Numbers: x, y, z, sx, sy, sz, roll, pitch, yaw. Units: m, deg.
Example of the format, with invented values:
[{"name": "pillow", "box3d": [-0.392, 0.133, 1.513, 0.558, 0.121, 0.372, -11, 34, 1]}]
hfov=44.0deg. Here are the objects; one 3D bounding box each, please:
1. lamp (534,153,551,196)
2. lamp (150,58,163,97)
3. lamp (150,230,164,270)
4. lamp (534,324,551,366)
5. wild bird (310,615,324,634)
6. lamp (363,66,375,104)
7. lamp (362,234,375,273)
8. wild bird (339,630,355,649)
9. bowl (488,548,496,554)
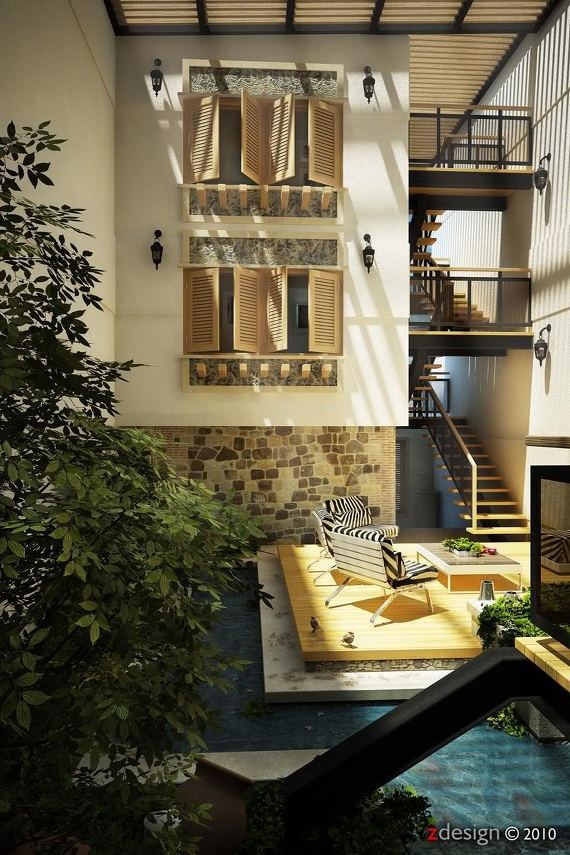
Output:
[{"name": "lamp", "box3d": [3.741, -3.693, 10.302, 0.184, 0.478, 0.390, -1, 1, 5]}, {"name": "lamp", "box3d": [-1.601, -4.345, 8.757, 0.160, 0.459, 0.138, -1, 0, -7]}, {"name": "lamp", "box3d": [-1.609, -2.229, 8.796, 0.159, 0.485, 0.202, -1, 0, -9]}, {"name": "lamp", "box3d": [3.696, -1.171, 10.196, 0.162, 0.477, 0.360, -1, 1, 3]}, {"name": "wild bird", "box3d": [0.244, 1.597, 5.691, 0.076, 0.141, 0.135, 1, -6, -15]}, {"name": "lamp", "box3d": [1.063, -4.358, 8.977, 0.149, 0.395, 0.164, -1, 0, 5]}, {"name": "lamp", "box3d": [1.057, -2.214, 8.982, 0.162, 0.425, 0.269, -1, 1, 6]}, {"name": "wild bird", "box3d": [0.476, 1.606, 5.372, 0.103, 0.115, 0.213, -1, 1, 4]}, {"name": "bowl", "box3d": [2.050, 1.236, 6.991, 0.086, 0.060, 0.190, -1, 1, 13]}]
